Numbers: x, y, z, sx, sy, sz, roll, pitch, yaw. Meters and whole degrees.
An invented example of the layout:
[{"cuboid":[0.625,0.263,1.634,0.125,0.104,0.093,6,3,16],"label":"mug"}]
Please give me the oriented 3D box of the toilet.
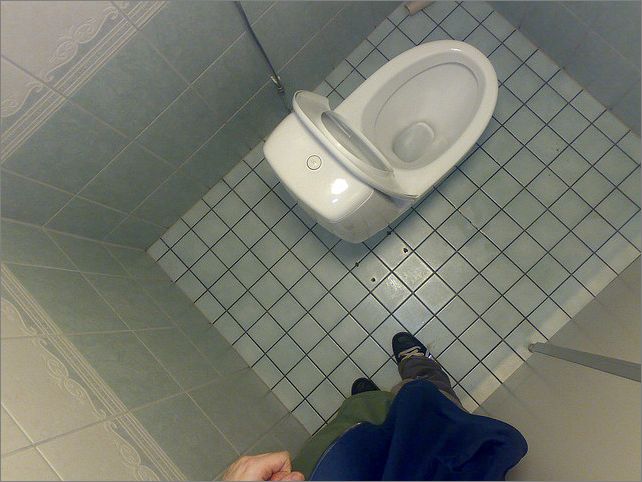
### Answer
[{"cuboid":[0.318,-0.464,2.678,0.784,0.484,0.651,-43,-7,-1],"label":"toilet"}]
